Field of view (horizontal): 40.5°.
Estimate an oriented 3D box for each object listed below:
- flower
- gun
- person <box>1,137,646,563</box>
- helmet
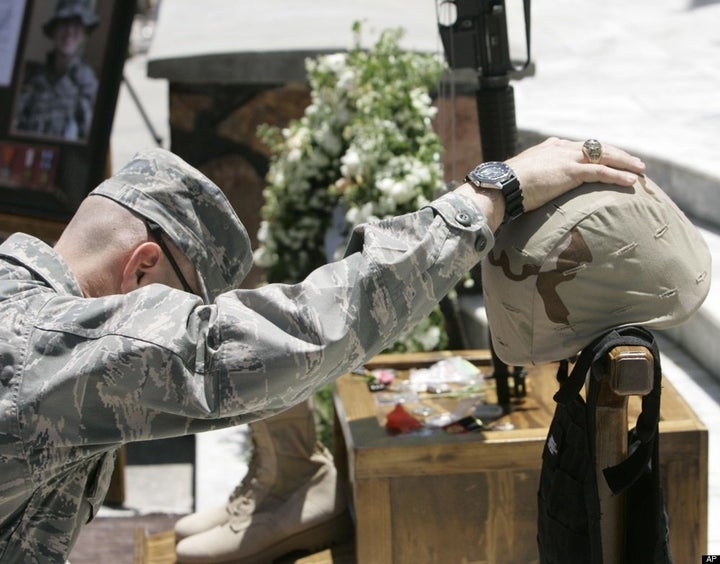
[{"bbox_3d":[0.070,-0.048,3.667,0.626,1.588,0.815,-25,-32,26],"label":"flower"},{"bbox_3d":[0.357,-0.221,2.703,0.285,1.058,0.170,-4,16,10],"label":"gun"},{"bbox_3d":[-0.195,0.048,2.102,1.149,0.489,0.673,-18,21,-31],"label":"person"},{"bbox_3d":[0.523,-0.058,2.338,0.488,0.401,0.357,-24,27,14],"label":"helmet"}]
